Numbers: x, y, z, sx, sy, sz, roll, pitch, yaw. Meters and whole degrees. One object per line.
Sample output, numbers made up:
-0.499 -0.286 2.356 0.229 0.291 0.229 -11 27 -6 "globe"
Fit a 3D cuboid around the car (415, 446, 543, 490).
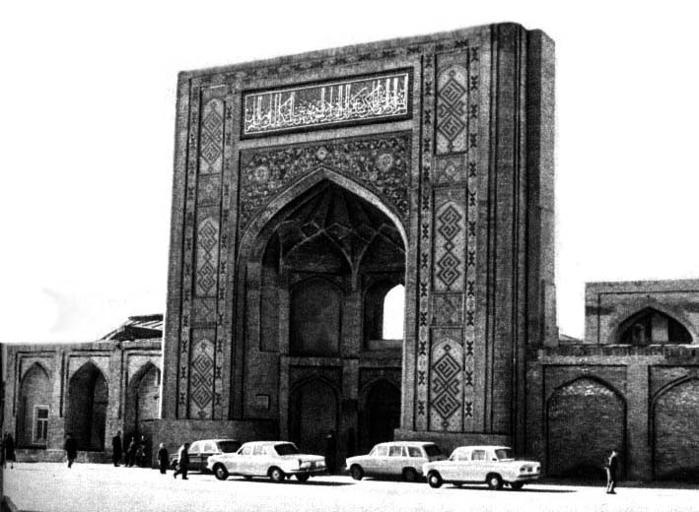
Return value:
2.447 3.767 22.587 1.756 0.640 0.873 -4 -10 26 "car"
